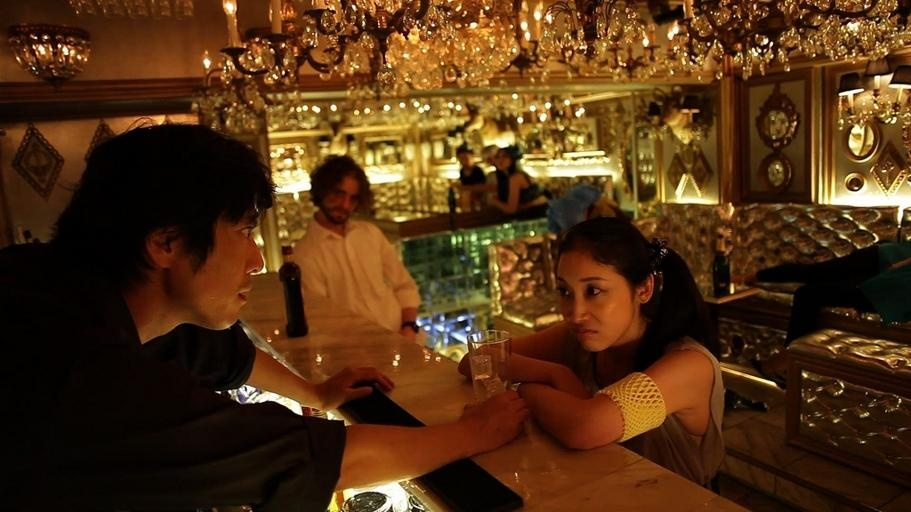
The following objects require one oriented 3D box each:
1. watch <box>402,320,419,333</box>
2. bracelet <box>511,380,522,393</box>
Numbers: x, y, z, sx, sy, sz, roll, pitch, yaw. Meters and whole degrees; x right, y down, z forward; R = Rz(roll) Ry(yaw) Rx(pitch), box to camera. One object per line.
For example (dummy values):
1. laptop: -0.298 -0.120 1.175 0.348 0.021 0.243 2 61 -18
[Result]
1. watch: -0.342 0.534 4.663 0.114 0.103 0.111 -14 19 7
2. bracelet: 0.291 0.629 2.988 0.068 0.059 0.071 -3 -9 9
